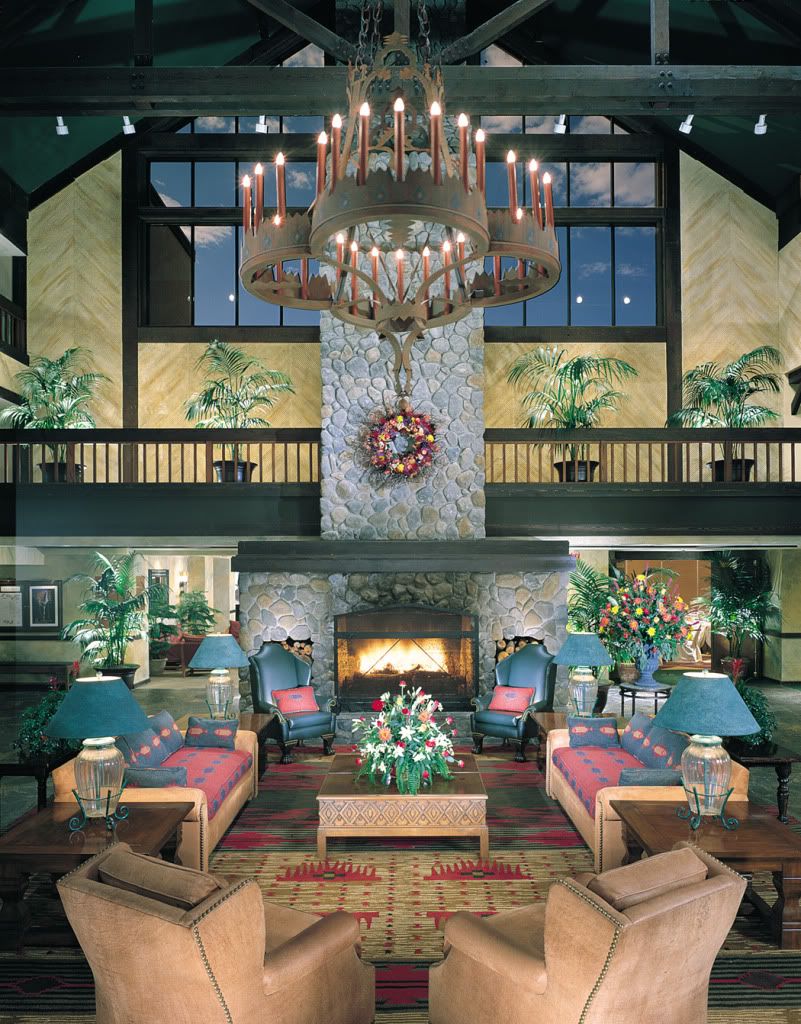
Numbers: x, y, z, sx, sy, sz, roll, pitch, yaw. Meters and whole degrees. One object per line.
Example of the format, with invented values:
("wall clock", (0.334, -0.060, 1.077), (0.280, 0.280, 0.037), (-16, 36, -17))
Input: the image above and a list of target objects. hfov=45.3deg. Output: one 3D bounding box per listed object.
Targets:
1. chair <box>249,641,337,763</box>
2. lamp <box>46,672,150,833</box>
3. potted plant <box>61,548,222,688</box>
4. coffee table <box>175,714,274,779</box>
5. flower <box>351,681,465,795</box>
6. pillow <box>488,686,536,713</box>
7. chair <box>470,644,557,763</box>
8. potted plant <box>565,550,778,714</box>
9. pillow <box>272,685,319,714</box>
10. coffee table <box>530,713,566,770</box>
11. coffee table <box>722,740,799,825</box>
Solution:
("chair", (-0.934, 1.596, 8.281), (0.675, 0.860, 0.631), (1, -1, -38))
("lamp", (-1.439, 1.122, 4.568), (0.515, 0.654, 0.489), (2, -4, -16))
("potted plant", (-3.312, 1.296, 12.333), (1.631, 1.413, 1.660), (-6, -4, 36))
("coffee table", (-1.326, 1.770, 7.323), (0.629, 0.541, 0.607), (-1, 0, 1))
("flower", (0.038, 1.391, 5.976), (0.698, 0.611, 0.666), (0, -4, -5))
("pillow", (0.930, 1.604, 8.195), (0.389, 0.190, 0.286), (0, -1, 12))
("chair", (0.972, 1.608, 8.289), (0.980, 0.883, 0.946), (2, -2, 8))
("potted plant", (2.926, 1.249, 10.315), (2.247, 1.922, 0.696), (0, -3, -3))
("pillow", (-0.887, 1.607, 8.189), (0.373, 0.180, 0.308), (0, -1, -7))
("coffee table", (1.103, 1.716, 7.199), (0.202, 0.254, 0.551), (1, -6, 4))
("coffee table", (2.189, 1.566, 5.756), (0.519, 0.461, 0.486), (-3, -4, 21))
